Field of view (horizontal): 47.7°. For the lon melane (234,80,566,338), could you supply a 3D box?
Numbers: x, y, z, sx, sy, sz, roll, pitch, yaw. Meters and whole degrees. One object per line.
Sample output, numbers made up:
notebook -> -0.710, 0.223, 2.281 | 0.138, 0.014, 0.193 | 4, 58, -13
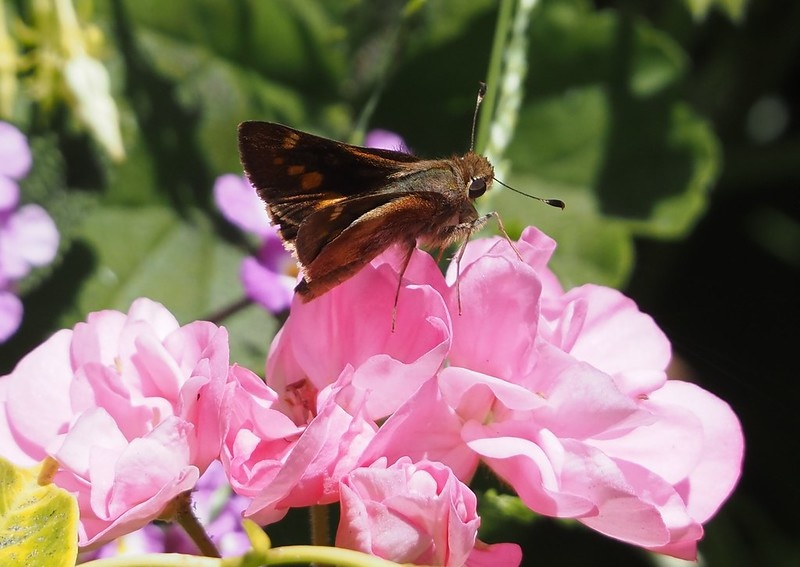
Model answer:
lon melane -> 0.001, -0.064, 0.636 | 0.186, 0.123, 0.124 | -17, 10, -19
